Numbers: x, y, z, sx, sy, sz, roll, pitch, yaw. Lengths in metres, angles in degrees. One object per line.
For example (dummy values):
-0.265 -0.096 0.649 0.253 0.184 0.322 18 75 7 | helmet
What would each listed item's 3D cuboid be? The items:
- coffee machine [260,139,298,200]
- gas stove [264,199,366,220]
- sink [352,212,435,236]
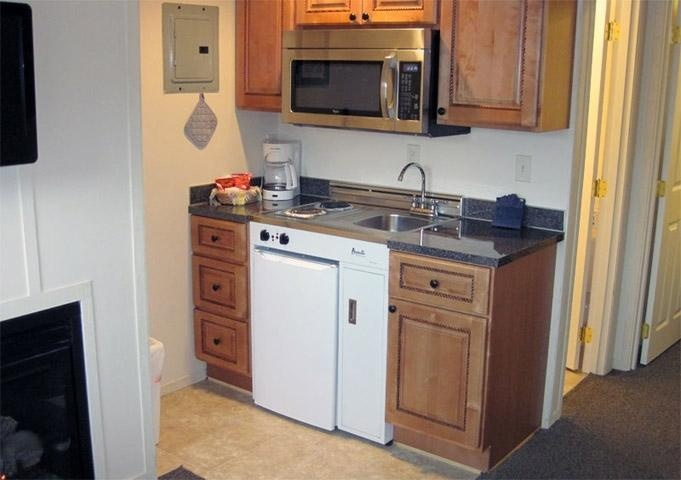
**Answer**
-0.393 -0.467 3.768 0.247 0.368 0.266 1 11 0 | coffee machine
-0.170 -0.199 3.489 0.340 0.043 0.528 12 17 41 | gas stove
0.361 -0.102 3.440 0.253 0.093 0.205 10 18 39 | sink
